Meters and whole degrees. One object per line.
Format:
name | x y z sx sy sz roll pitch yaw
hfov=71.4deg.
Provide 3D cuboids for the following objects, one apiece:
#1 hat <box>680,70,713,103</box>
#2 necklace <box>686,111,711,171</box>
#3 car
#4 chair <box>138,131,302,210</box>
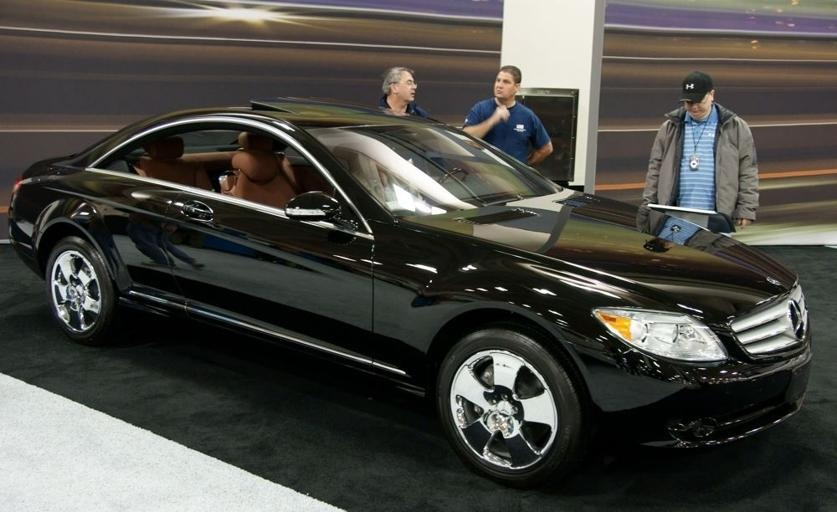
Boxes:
hat | 2.478 -1.520 5.198 0.226 0.168 0.340 12 41 40
necklace | 2.523 -1.053 5.288 0.171 0.484 0.067 7 6 31
car | -0.576 -0.062 4.531 6.145 1.560 2.500 9 14 25
chair | -1.551 -0.699 4.691 1.241 0.459 0.699 11 11 17
